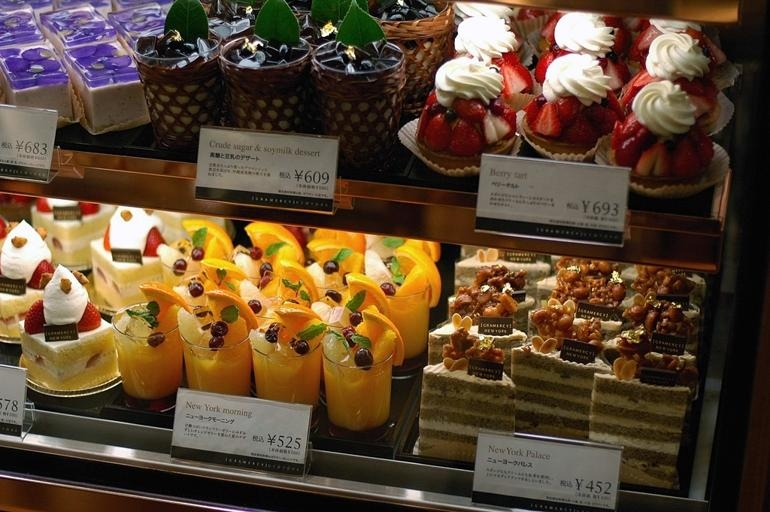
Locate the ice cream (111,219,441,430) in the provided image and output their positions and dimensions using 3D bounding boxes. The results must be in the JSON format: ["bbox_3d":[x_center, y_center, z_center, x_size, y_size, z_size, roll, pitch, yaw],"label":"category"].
[{"bbox_3d":[-0.348,0.187,2.057,0.968,0.311,0.724,9,34,7],"label":"ice cream"}]

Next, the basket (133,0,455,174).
[{"bbox_3d":[-0.247,-0.437,1.658,0.650,0.319,0.383,3,38,2],"label":"basket"}]

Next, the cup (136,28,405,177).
[{"bbox_3d":[-0.256,-0.396,1.616,0.539,0.197,0.384,5,30,4],"label":"cup"}]
